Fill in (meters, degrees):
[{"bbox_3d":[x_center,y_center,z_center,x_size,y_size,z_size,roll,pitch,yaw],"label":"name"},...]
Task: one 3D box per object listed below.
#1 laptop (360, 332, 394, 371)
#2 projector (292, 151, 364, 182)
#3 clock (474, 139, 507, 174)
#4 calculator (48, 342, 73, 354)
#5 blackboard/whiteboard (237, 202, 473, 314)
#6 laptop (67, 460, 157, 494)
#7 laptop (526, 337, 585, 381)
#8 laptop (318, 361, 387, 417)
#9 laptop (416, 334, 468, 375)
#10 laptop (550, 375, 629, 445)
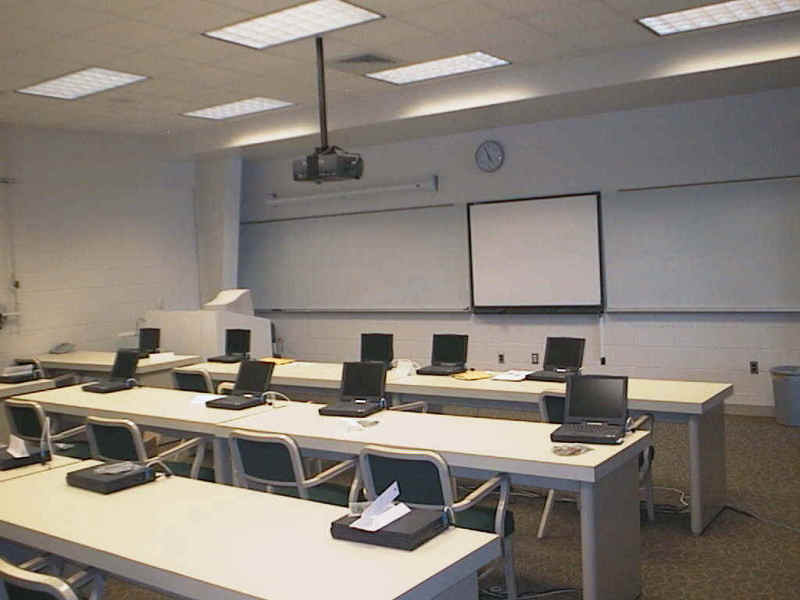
[{"bbox_3d":[-0.244,0.516,6.297,0.399,0.316,0.383,3,3,12],"label":"laptop"},{"bbox_3d":[-0.767,-1.415,6.518,0.686,0.305,0.368,4,10,33],"label":"projector"},{"bbox_3d":[1.287,-2.047,8.741,0.441,0.464,0.117,5,11,39],"label":"clock"},{"bbox_3d":[-4.843,0.683,8.811,0.206,0.052,0.203,4,10,19],"label":"calculator"},{"bbox_3d":[-0.780,-0.635,10.074,4.211,1.709,0.194,3,10,30],"label":"blackboard/whiteboard"},{"bbox_3d":[-1.617,0.983,3.472,0.374,0.079,0.353,4,10,37],"label":"laptop"},{"bbox_3d":[1.421,0.515,5.520,0.347,0.314,0.491,2,4,37],"label":"laptop"},{"bbox_3d":[-0.351,0.678,4.709,0.414,0.296,0.440,-2,9,29],"label":"laptop"},{"bbox_3d":[0.406,0.525,6.053,0.399,0.387,0.424,1,2,32],"label":"laptop"},{"bbox_3d":[1.204,0.662,3.874,0.435,0.312,0.555,1,9,20],"label":"laptop"}]
